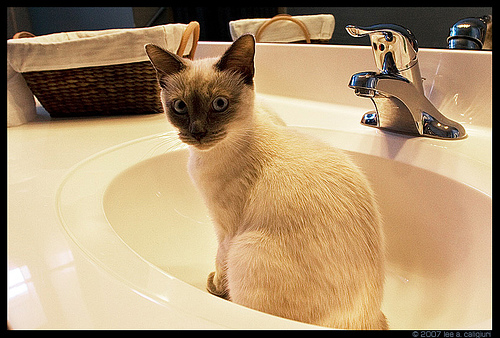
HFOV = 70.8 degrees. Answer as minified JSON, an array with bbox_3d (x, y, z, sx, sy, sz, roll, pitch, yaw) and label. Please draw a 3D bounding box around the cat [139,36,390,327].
[{"bbox_3d":[0.034,0.025,0.685,0.304,0.475,0.500,-13,35,-25],"label":"cat"}]
